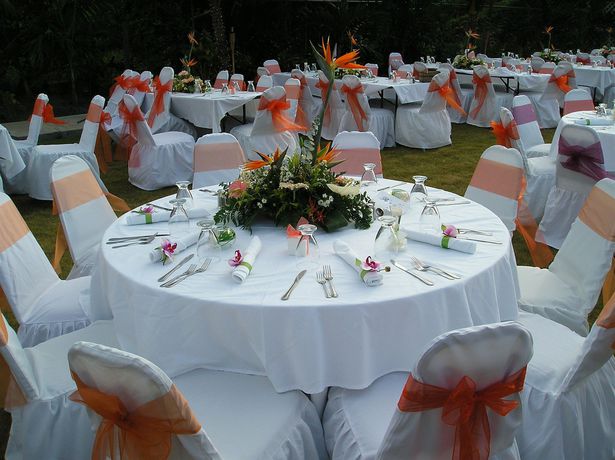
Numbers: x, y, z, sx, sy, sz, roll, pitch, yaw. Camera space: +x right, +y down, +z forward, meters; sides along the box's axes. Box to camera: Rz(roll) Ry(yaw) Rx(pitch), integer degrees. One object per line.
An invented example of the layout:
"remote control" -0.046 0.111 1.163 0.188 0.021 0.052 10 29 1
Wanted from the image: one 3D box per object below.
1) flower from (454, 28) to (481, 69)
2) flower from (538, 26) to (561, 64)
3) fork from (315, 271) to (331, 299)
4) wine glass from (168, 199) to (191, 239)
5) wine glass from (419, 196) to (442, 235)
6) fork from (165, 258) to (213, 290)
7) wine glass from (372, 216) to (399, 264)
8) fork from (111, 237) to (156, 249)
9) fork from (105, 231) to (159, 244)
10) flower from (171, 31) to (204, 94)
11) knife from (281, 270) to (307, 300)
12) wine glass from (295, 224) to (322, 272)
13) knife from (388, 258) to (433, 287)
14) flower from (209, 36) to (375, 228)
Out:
"flower" 3.421 -3.884 10.360 0.507 0.814 0.533 15 20 18
"flower" 5.698 -4.390 11.341 0.409 0.814 0.484 -5 12 -17
"fork" 0.074 0.245 2.206 0.028 0.028 0.184 -6 29 -6
"wine glass" -0.676 -0.066 2.542 0.104 0.212 0.119 -5 24 -14
"wine glass" 0.695 -0.112 2.712 0.118 0.174 0.384 4 20 14
"fork" -0.565 0.211 2.296 0.029 0.037 0.226 10 30 28
"wine glass" 0.387 0.035 2.338 0.126 0.233 0.104 -3 18 -9
"fork" -0.939 0.070 2.598 0.123 0.026 0.036 -7 22 -1
"fork" -0.972 0.042 2.656 0.199 0.037 0.033 -7 29 -5
"flower" -1.929 -2.689 7.748 0.377 0.925 0.444 8 11 6
"knife" -0.068 0.253 2.194 0.040 0.024 0.256 8 29 16
"wine glass" -0.001 0.089 2.314 0.119 0.231 0.127 -12 29 -15
"knife" 0.486 0.203 2.286 0.025 0.032 0.232 -18 28 -21
"flower" 0.071 -0.490 2.888 0.688 1.035 0.800 1 0 -3
